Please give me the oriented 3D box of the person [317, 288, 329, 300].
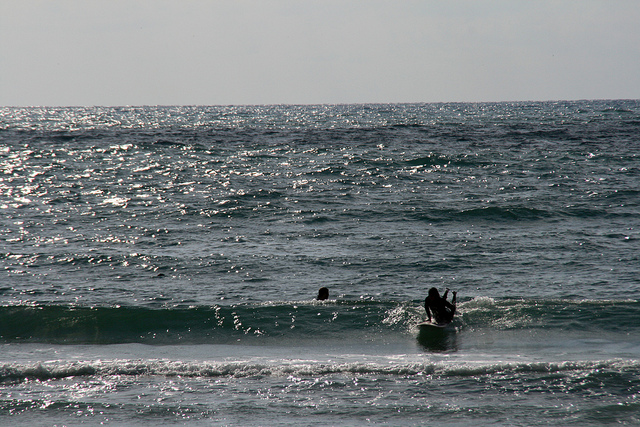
[{"bbox_3d":[0.487,5.850,106.705,0.785,0.878,0.708,2,-31,-3],"label":"person"}]
